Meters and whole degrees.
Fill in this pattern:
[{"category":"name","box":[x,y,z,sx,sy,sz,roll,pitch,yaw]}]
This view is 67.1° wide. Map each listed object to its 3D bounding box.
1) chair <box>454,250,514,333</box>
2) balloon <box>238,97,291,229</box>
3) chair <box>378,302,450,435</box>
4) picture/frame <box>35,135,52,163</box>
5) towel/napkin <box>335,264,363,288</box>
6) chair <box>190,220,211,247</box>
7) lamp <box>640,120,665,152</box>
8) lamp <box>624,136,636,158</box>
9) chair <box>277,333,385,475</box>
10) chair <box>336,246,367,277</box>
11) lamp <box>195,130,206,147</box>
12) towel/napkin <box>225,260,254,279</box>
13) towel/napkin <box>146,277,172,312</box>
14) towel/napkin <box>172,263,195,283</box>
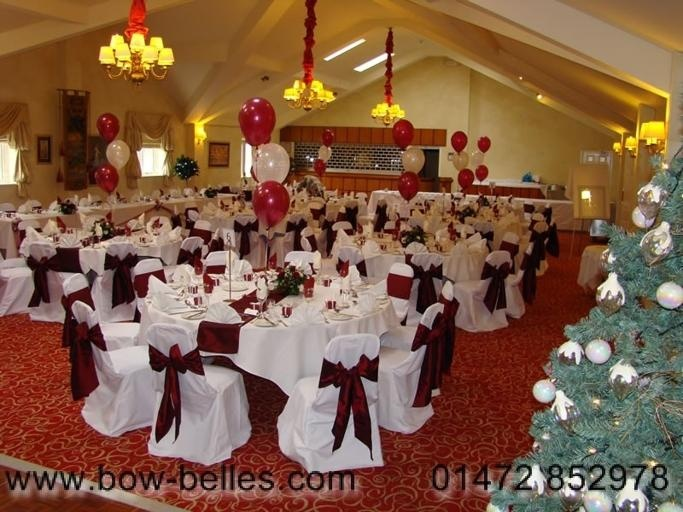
[{"category":"chair","box":[1.873,0.437,6.834,0.730,1.085,0.431,4,11,13]},{"category":"balloon","box":[-0.819,-0.957,5.561,0.522,1.507,1.140,-1,12,-11]},{"category":"chair","box":[0.633,1.028,4.516,0.628,0.889,0.651,18,29,36]},{"category":"picture/frame","box":[-7.019,-2.542,12.131,0.064,0.707,0.590,3,8,21]},{"category":"towel/napkin","box":[0.093,0.205,5.055,0.216,0.246,0.087,-3,3,-41]},{"category":"chair","box":[-2.147,-0.339,7.908,0.311,0.486,0.373,2,15,0]},{"category":"lamp","box":[4.860,-1.881,8.030,0.322,0.452,0.727,8,14,31]},{"category":"lamp","box":[6.354,-2.401,11.304,0.192,0.420,0.709,7,13,26]},{"category":"chair","box":[-0.060,1.073,3.890,0.793,1.079,0.415,1,11,-4]},{"category":"chair","box":[0.142,0.008,7.075,0.350,0.466,0.392,3,16,9]},{"category":"lamp","box":[-4.712,-3.951,17.203,0.166,0.609,0.555,0,5,16]},{"category":"towel/napkin","box":[-1.050,0.115,5.428,0.187,0.242,0.073,2,4,-5]},{"category":"towel/napkin","box":[-1.625,0.335,4.590,0.218,0.116,0.314,21,6,-23]},{"category":"towel/napkin","box":[-1.566,0.176,5.185,0.151,0.201,0.071,9,-20,-7]}]
